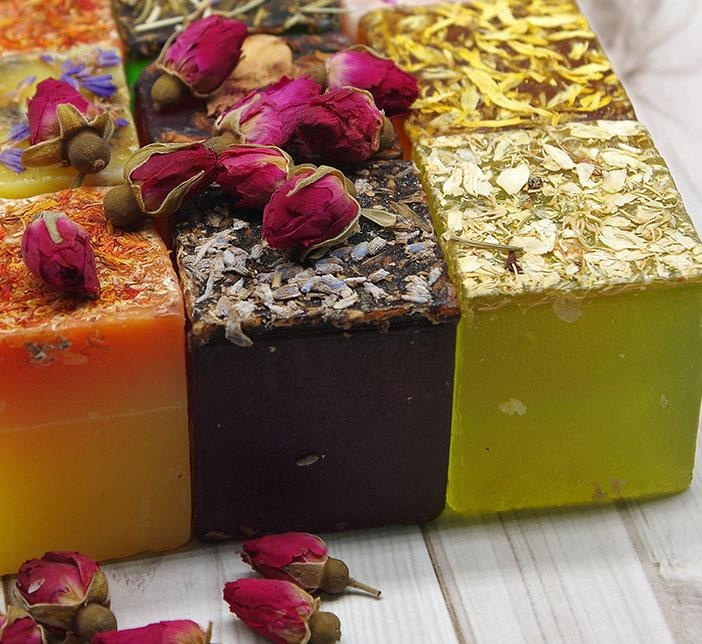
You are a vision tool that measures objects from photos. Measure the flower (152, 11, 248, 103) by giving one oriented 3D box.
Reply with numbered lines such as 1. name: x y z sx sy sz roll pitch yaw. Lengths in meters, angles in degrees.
1. flower: -0.226 -0.386 1.152 0.124 0.090 0.133 7 58 4

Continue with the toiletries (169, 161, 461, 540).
1. toiletries: -0.025 0.047 1.103 0.538 0.419 0.424 -4 45 -5

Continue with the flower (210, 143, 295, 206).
1. flower: -0.116 -0.181 0.951 0.103 0.062 0.069 -2 43 -6

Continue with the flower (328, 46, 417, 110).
1. flower: 0.030 -0.345 1.137 0.143 0.050 0.072 20 57 10

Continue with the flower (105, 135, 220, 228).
1. flower: -0.228 -0.172 0.989 0.161 0.063 0.078 -26 52 -10

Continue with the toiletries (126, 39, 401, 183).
1. toiletries: -0.119 -0.281 1.062 0.301 0.059 0.227 -4 37 -9

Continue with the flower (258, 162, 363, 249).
1. flower: -0.052 -0.119 0.920 0.095 0.080 0.108 18 18 41

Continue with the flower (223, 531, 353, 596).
1. flower: -0.073 0.279 0.931 0.133 0.045 0.061 13 29 2
